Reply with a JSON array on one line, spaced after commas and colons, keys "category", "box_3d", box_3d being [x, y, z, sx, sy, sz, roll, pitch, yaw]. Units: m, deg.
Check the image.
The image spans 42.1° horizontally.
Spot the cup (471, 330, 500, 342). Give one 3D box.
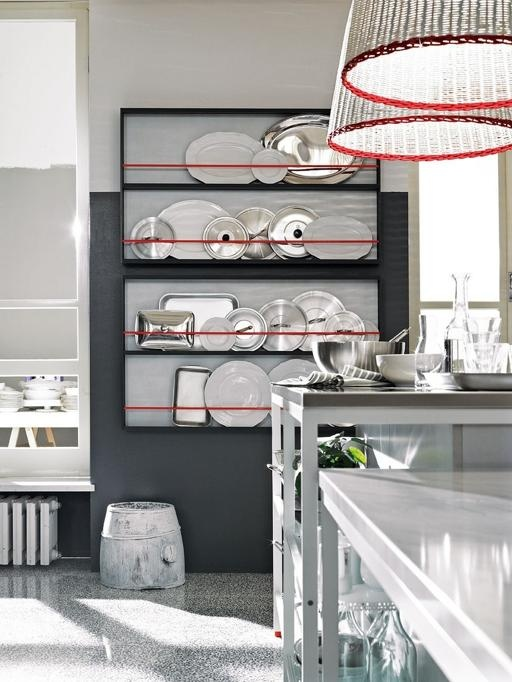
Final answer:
[{"category": "cup", "box_3d": [0.473, -0.009, 1.357, 0.037, 0.023, 0.029, 0, 0, 23]}]

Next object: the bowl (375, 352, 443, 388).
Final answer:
[{"category": "bowl", "box_3d": [0.350, 0.058, 1.476, 0.104, 0.043, 0.096, 0, 0, 0]}]

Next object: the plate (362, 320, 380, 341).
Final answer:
[{"category": "plate", "box_3d": [0.567, -0.046, 3.238, 0.098, 0.088, 0.023, -8, -4, 37]}]

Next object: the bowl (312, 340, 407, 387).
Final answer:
[{"category": "bowl", "box_3d": [0.247, 0.025, 1.662, 0.213, 0.090, 0.205, 2, 11, 0]}]
